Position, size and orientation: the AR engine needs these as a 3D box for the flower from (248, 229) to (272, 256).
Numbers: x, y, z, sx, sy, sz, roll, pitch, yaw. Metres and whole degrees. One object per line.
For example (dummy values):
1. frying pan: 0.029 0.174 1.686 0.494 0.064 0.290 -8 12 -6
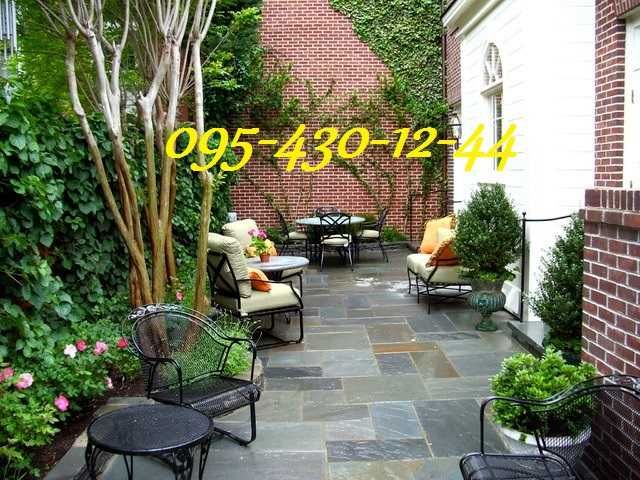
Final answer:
1. flower: -0.786 0.015 5.842 0.353 0.358 0.365 1 1 0

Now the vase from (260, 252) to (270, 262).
1. vase: -0.657 0.195 5.610 0.111 0.078 0.107 0 1 -4

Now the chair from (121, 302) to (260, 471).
1. chair: -0.834 0.907 3.097 0.773 0.904 0.679 -1 1 34

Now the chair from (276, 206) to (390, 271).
1. chair: 0.409 -0.138 9.445 1.575 0.731 1.539 -1 11 0

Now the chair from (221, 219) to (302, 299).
1. chair: -0.726 0.146 6.690 1.293 1.331 0.876 0 4 30

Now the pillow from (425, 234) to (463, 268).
1. pillow: 1.521 0.138 5.903 0.399 0.353 0.119 -31 40 -34

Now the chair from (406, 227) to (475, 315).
1. chair: 1.685 0.391 6.494 1.326 0.758 0.709 3 10 -46

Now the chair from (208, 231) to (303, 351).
1. chair: -0.717 0.519 5.019 0.977 1.103 0.826 -3 5 -45

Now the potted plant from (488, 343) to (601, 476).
1. potted plant: 1.152 0.898 2.524 0.408 0.488 0.494 1 56 14

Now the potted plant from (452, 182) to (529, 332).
1. potted plant: 1.959 0.154 5.494 0.882 1.543 0.770 7 5 -9
